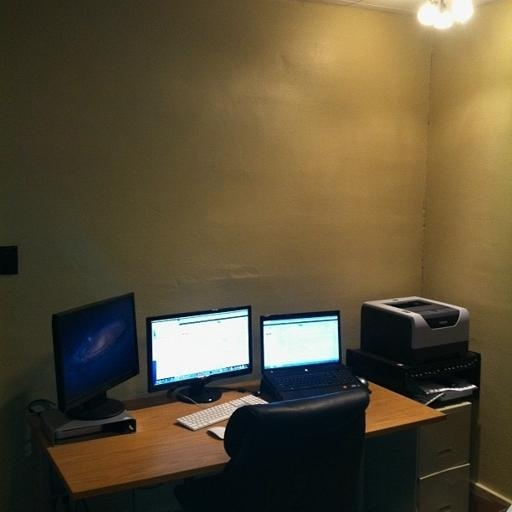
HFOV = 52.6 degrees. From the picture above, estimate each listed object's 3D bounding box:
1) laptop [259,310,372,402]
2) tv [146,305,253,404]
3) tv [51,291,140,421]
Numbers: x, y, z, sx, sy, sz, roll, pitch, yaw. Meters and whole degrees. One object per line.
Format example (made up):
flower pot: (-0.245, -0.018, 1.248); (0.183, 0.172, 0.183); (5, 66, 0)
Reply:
laptop: (0.257, 0.527, 2.762); (0.484, 0.416, 0.410); (-2, 4, -22)
tv: (-0.294, 0.498, 2.605); (0.408, 0.362, 0.173); (-2, 0, -32)
tv: (-0.723, 0.443, 2.304); (0.216, 0.503, 0.477); (4, 8, 23)
